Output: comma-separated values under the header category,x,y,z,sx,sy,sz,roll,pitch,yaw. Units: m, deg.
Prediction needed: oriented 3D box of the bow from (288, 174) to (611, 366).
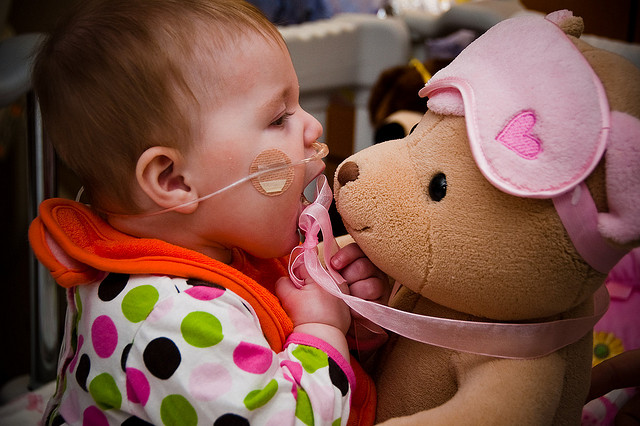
category,x,y,z,sx,sy,sz,roll,pitch,yaw
bow,0.208,0.156,1.181,0.445,0.283,0.356,3,29,18

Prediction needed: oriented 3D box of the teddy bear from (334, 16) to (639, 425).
category,x,y,z,sx,sy,sz,roll,pitch,yaw
teddy bear,0.303,0.068,1.037,0.504,0.517,0.458,-11,48,-4
